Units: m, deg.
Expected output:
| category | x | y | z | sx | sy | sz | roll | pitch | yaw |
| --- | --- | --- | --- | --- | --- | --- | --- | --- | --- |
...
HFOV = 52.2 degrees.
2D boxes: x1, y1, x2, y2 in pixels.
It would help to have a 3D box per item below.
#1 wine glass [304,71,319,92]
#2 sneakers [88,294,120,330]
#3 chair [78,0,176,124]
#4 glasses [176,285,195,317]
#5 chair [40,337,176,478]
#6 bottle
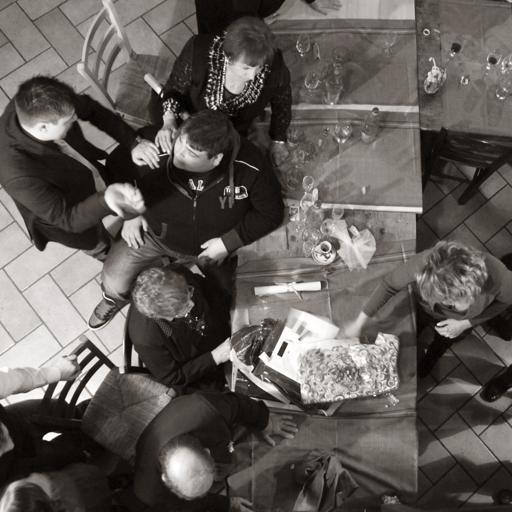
| category | x | y | z | sx | sy | sz | roll | pitch | yaw |
| --- | --- | --- | --- | --- | --- | --- | --- | --- | --- |
| wine glass | 0.350 | -1.104 | 3.301 | 0.079 | 0.068 | 0.114 | 3 | 80 | 2 |
| sneakers | -1.124 | 0.422 | 3.857 | 0.084 | 0.107 | 0.263 | 39 | 66 | -14 |
| chair | -0.931 | -1.364 | 3.750 | 0.565 | 1.015 | 0.660 | 12 | 96 | -7 |
| glasses | -0.394 | 0.255 | 2.944 | 0.105 | 0.106 | 0.159 | 1 | 93 | 2 |
| chair | -0.810 | 0.864 | 2.904 | 0.384 | 0.593 | 0.369 | 34 | 96 | 11 |
| bottle | 0.570 | -0.989 | 3.317 | 0.408 | 0.186 | 0.520 | -2 | 88 | 5 |
